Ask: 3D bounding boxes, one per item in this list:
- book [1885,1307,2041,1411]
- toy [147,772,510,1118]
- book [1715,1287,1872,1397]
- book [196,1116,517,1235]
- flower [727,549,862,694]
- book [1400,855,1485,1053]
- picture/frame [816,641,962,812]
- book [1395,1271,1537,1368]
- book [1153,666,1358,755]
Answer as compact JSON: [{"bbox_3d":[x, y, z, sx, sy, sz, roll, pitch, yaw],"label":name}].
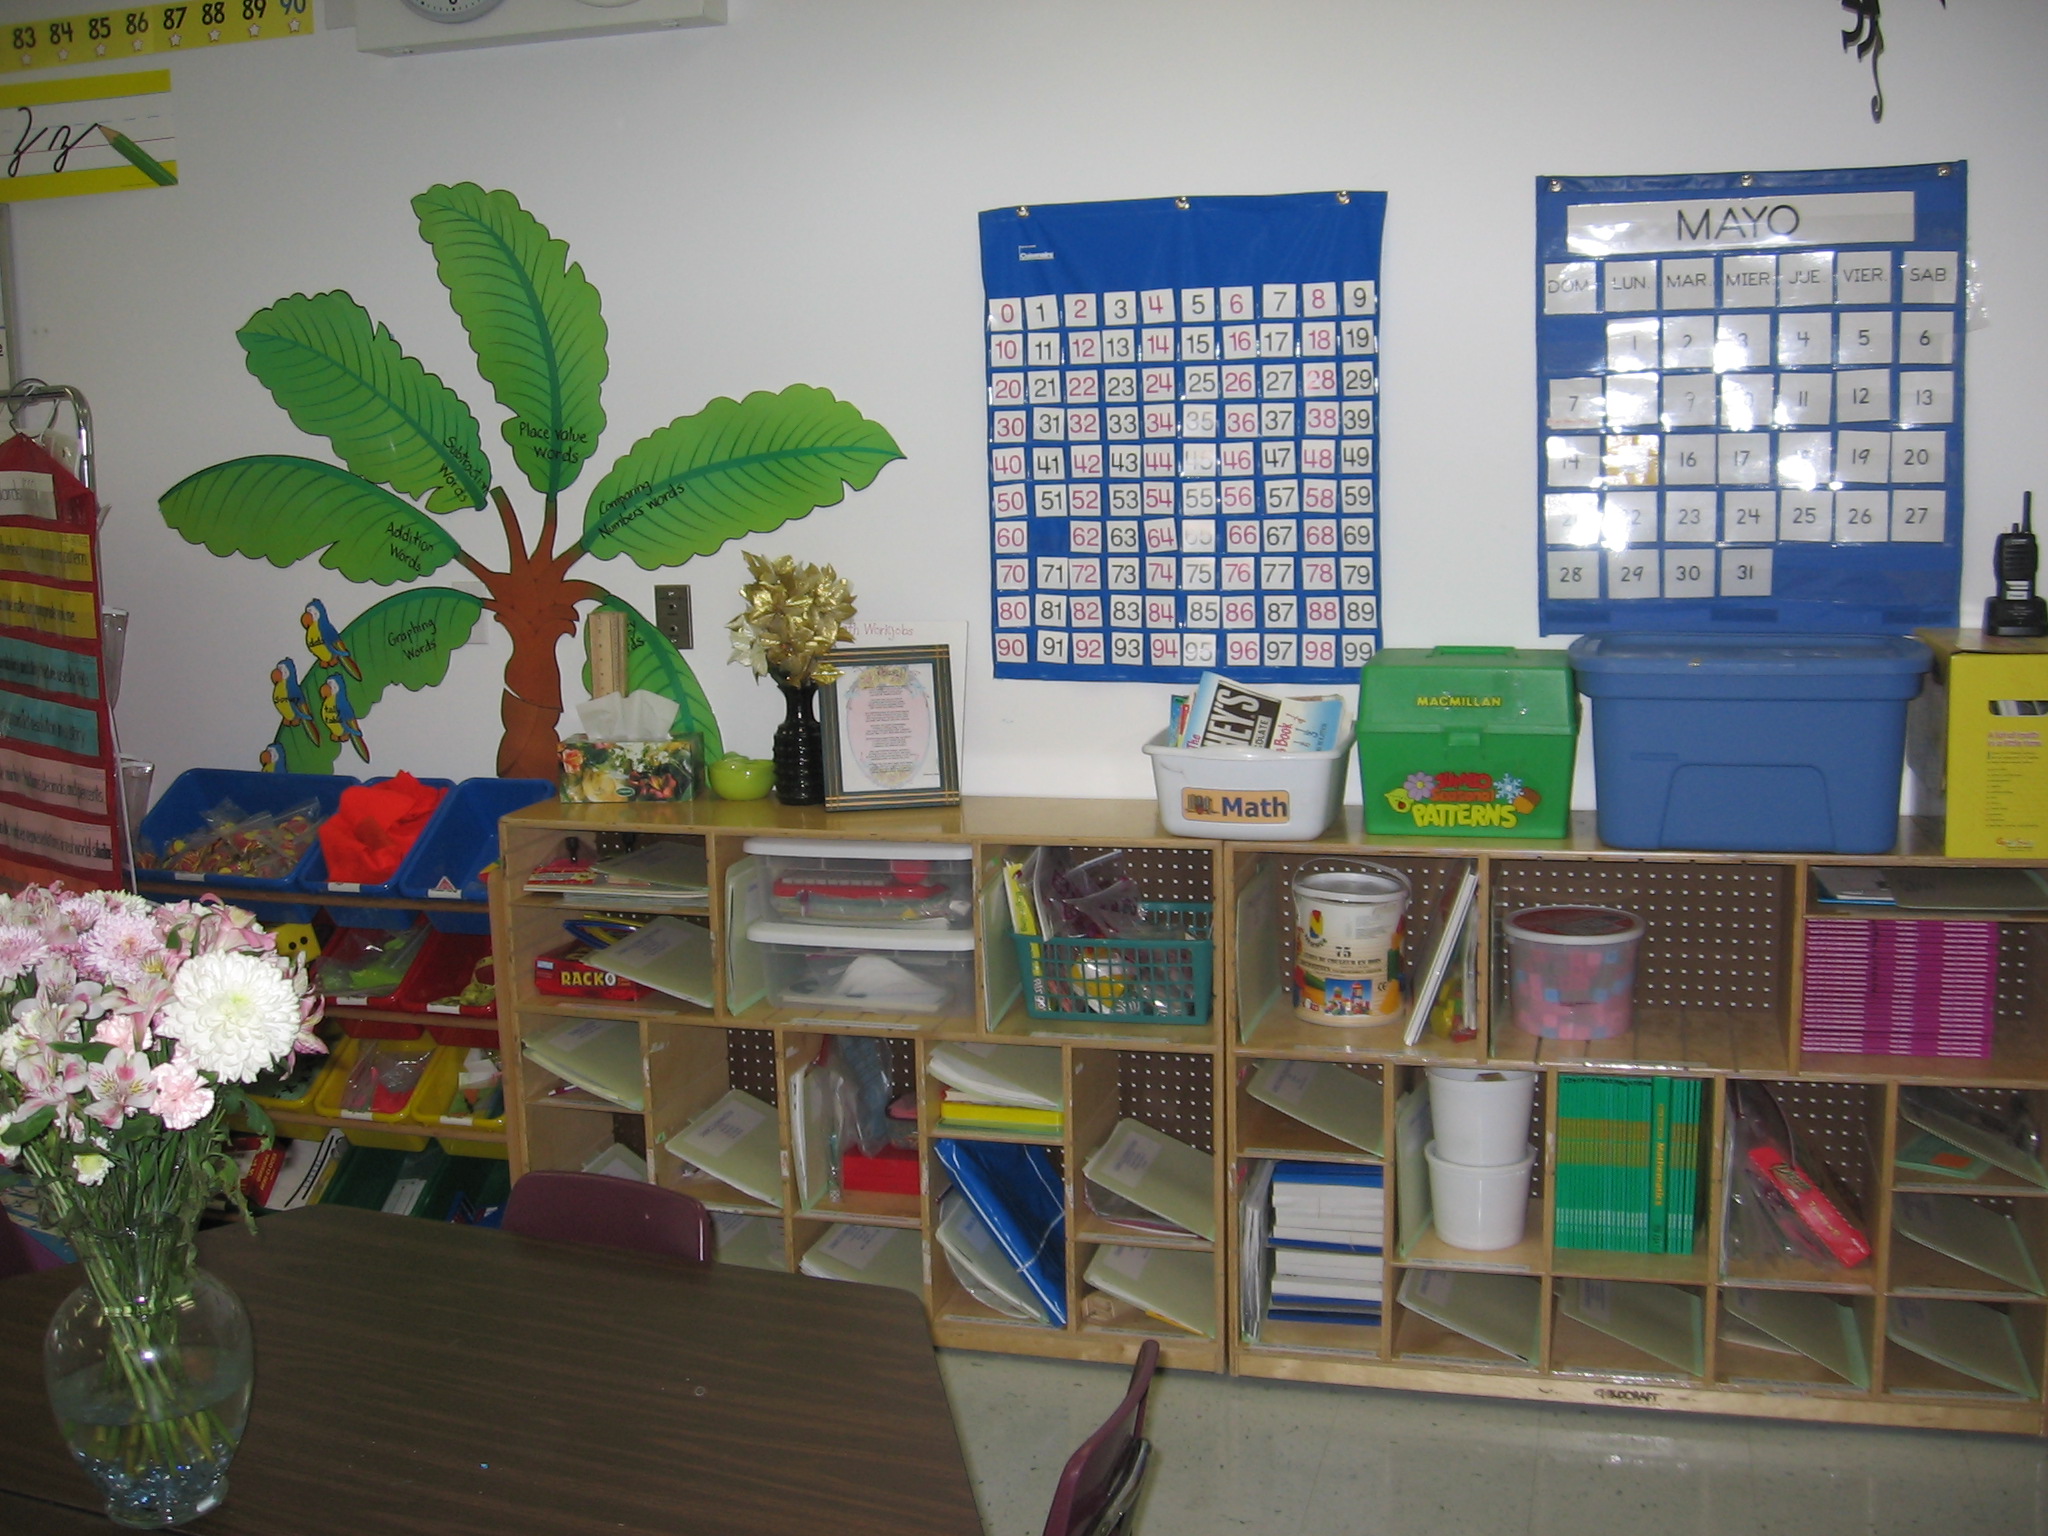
[{"bbox_3d":[1.971,1.203,3.528,0.287,0.132,0.264,1,6,19],"label":"book"},{"bbox_3d":[-1.466,0.390,3.651,0.807,0.519,0.328,2,8,17],"label":"toy"},{"bbox_3d":[1.666,1.221,3.597,0.172,0.054,0.198,2,15,34],"label":"book"},{"bbox_3d":[-1.700,1.053,4.340,0.720,0.185,0.746,1,1,17],"label":"book"},{"bbox_3d":[-0.523,-0.355,3.944,0.282,0.182,0.295,9,41,5],"label":"flower"},{"bbox_3d":[0.894,0.380,3.572,0.164,0.392,0.174,0,6,13],"label":"book"},{"bbox_3d":[-0.313,-0.105,3.838,0.370,0.448,0.035,-1,1,-2],"label":"picture/frame"},{"bbox_3d":[1.004,1.189,3.707,0.190,0.056,0.208,9,6,17],"label":"book"},{"bbox_3d":[0.504,-0.117,3.553,0.262,0.092,0.225,5,12,8],"label":"book"}]
